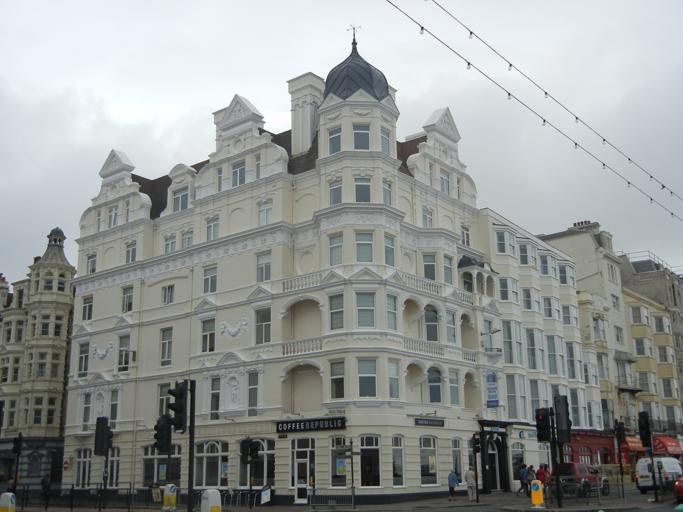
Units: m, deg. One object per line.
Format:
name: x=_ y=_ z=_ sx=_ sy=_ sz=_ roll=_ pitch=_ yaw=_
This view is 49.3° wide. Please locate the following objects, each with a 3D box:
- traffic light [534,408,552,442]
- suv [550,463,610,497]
traffic light: x=10.000 y=8.203 z=36.595 sx=0.842 sy=1.682 sz=0.910 roll=-7 pitch=-28 yaw=12
suv: x=15.953 y=14.794 z=48.897 sx=2.183 sy=2.448 sz=4.520 roll=-18 pitch=-31 yaw=29
